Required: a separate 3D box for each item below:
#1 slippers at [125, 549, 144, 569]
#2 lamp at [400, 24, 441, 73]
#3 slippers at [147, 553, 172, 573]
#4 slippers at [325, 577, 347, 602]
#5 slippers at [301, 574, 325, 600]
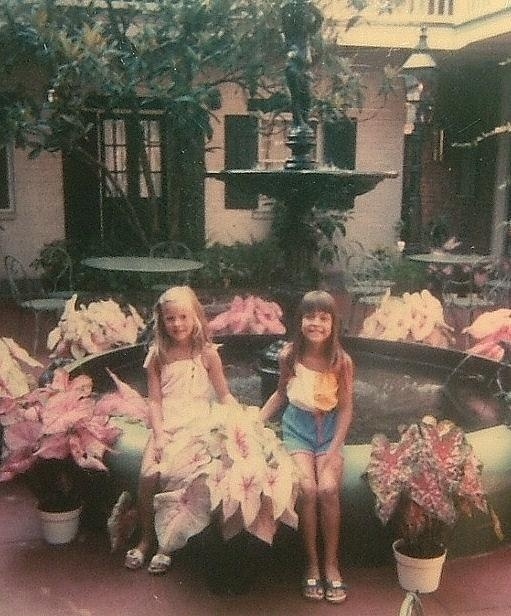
[{"bbox_3d":[-0.447,0.932,2.522,0.068,0.060,0.050,-1,12,-6],"label":"slippers"},{"bbox_3d":[0.631,-0.989,2.586,0.162,0.161,0.154,4,23,10],"label":"lamp"},{"bbox_3d":[-0.356,0.936,2.495,0.058,0.030,0.076,19,40,13],"label":"slippers"},{"bbox_3d":[0.282,1.005,2.406,0.074,0.056,0.067,1,12,7],"label":"slippers"},{"bbox_3d":[0.208,0.998,2.420,0.073,0.065,0.064,0,12,2],"label":"slippers"}]
